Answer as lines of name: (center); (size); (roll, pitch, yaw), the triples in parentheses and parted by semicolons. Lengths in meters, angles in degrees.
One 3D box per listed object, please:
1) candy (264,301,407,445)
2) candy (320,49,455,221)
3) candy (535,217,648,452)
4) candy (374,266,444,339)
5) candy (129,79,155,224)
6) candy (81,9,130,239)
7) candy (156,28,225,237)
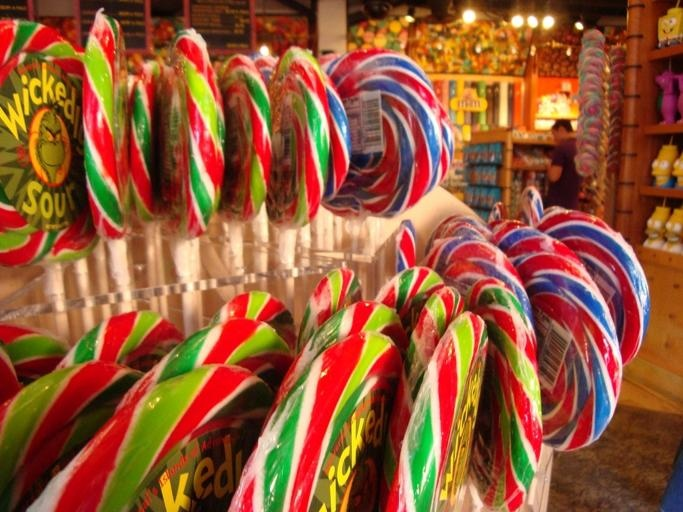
candy: (0.007, 0.142, 0.832); (0.040, 0.127, 0.158); (26, 55, 25)
candy: (0.070, -0.238, 1.220); (0.315, 0.365, 0.127); (12, 16, 37)
candy: (0.512, 0.118, 1.243); (0.253, 0.394, 0.294); (10, 15, 29)
candy: (0.113, 0.063, 0.988); (0.084, 0.125, 0.030); (9, 16, -37)
candy: (-0.367, -0.187, 1.059); (0.040, 0.263, 0.084); (-3, 13, -21)
candy: (-0.399, -0.216, 0.988); (0.069, 0.378, 0.186); (-3, 13, -20)
candy: (-0.253, -0.211, 1.006); (0.069, 0.319, 0.224); (6, 14, 10)
